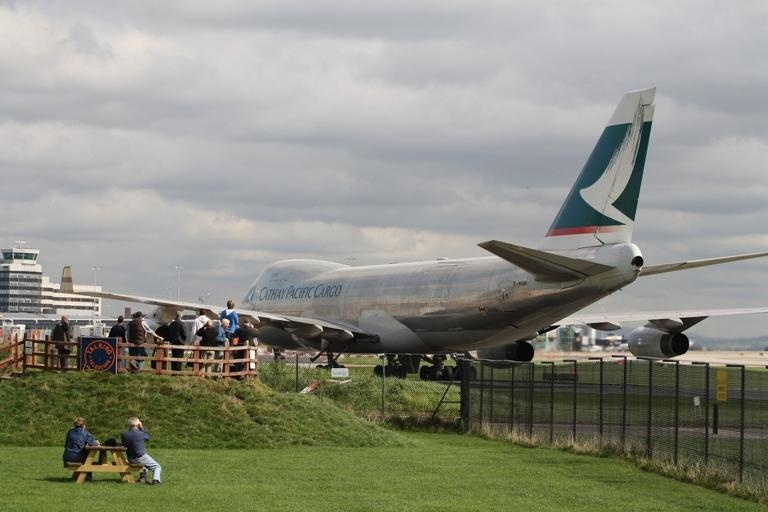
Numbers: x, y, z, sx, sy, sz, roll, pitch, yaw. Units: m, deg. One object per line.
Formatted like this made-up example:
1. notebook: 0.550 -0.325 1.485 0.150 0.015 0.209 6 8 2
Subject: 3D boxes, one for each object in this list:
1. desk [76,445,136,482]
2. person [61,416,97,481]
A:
1. desk: -8.730 6.427 40.903 2.777 0.813 2.180 1 -7 -3
2. person: -9.478 5.883 40.666 1.279 1.523 1.133 1 -9 8
